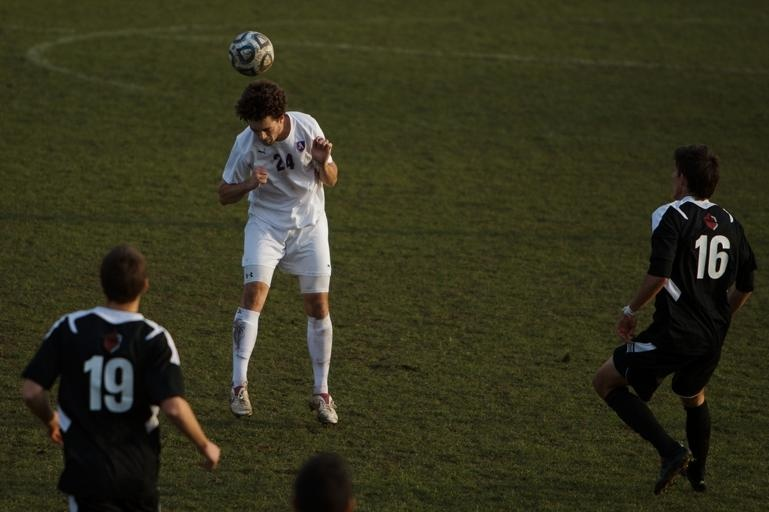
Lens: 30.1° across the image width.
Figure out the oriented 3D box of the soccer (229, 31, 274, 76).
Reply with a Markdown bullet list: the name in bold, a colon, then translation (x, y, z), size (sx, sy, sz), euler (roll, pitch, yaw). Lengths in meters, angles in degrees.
- **soccer**: translation (-1.461, -2.290, 15.903), size (0.603, 0.538, 0.569), euler (-7, 17, -19)

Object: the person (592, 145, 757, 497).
- **person**: translation (3.025, 0.630, 14.840), size (1.402, 3.605, 0.729), euler (7, 6, 6)

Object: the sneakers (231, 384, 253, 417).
- **sneakers**: translation (-1.536, 1.537, 15.350), size (0.243, 0.351, 0.298), euler (6, 6, -5)
